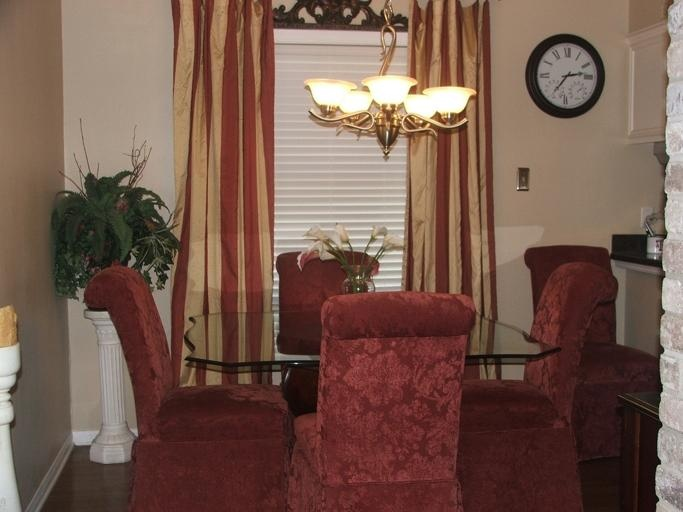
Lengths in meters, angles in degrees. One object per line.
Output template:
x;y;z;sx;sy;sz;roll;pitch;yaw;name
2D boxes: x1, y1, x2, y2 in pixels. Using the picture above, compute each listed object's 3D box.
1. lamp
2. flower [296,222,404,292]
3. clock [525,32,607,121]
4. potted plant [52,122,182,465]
0.198;-0.660;4.118;0.961;1.257;1.065;0;2;-33;lamp
0.028;0.007;3.812;0.457;0.393;0.517;-1;-3;1;flower
1.639;-1.351;4.957;0.508;0.650;0.057;-1;2;-3;clock
-1.515;0.236;4.338;0.724;2.207;0.800;-3;-2;-6;potted plant
